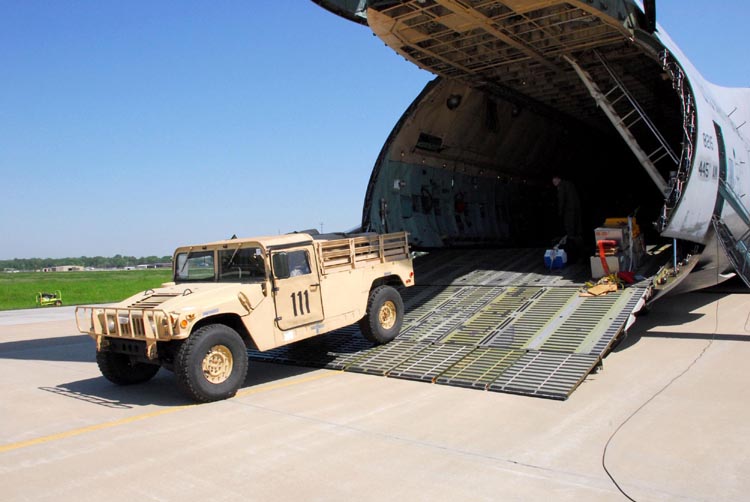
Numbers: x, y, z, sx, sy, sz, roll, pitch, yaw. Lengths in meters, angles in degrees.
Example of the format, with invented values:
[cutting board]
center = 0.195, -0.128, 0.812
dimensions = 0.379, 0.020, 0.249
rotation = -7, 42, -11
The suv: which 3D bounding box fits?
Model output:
[suv]
center = -1.890, 1.079, 8.845
dimensions = 2.662, 2.018, 5.102
rotation = -13, -3, 43
